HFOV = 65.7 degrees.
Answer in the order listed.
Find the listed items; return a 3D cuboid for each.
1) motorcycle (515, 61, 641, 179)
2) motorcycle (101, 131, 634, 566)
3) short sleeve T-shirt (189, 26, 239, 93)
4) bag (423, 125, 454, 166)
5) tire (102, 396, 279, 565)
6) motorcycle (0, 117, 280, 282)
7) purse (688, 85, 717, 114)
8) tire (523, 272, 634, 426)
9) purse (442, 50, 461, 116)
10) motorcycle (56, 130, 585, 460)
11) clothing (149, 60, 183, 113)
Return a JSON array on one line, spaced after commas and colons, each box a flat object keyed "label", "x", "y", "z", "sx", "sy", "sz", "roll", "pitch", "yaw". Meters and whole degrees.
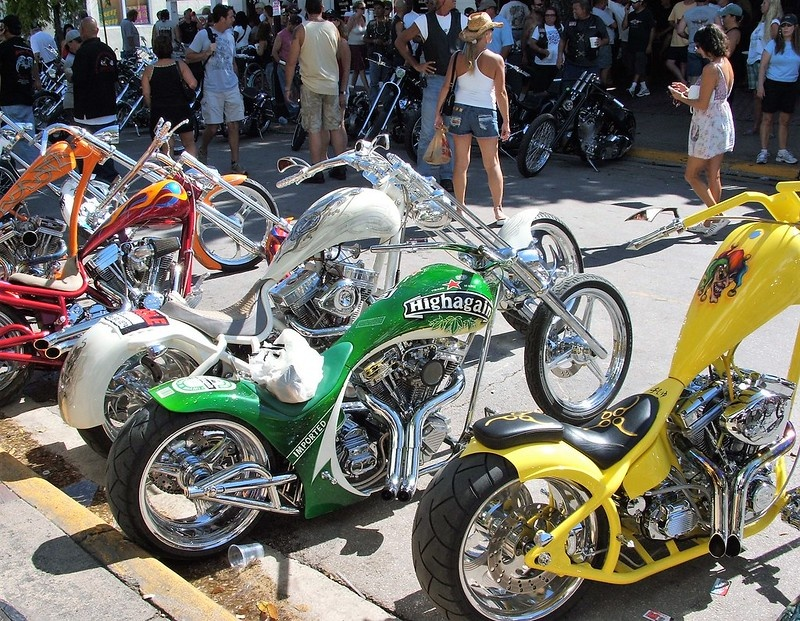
[{"label": "motorcycle", "x": 3.179, "y": -3.311, "z": 10.740, "sx": 3.182, "sy": 1.769, "sz": 1.109, "roll": -16, "pitch": 36, "yaw": -34}, {"label": "motorcycle", "x": -0.004, "y": 0.202, "z": 3.198, "sx": 2.976, "sy": 1.508, "sz": 1.272, "roll": -14, "pitch": 25, "yaw": -18}, {"label": "short sleeve T-shirt", "x": -2.977, "y": -4.056, "z": 10.044, "sx": 0.813, "sy": 1.009, "sz": 0.481, "roll": -18, "pitch": 40, "yaw": -37}, {"label": "bag", "x": 0.352, "y": -1.480, "z": 5.522, "sx": 0.274, "sy": 0.317, "sz": 0.182, "roll": -22, "pitch": 29, "yaw": -35}, {"label": "tire", "x": -1.036, "y": 0.785, "z": 2.893, "sx": 0.634, "sy": 0.833, "sz": 0.605, "roll": 17, "pitch": 26, "yaw": 35}, {"label": "motorcycle", "x": -2.374, "y": -0.941, "z": 5.226, "sx": 1.100, "sy": 1.210, "sz": 2.000, "roll": -5, "pitch": 2, "yaw": 28}, {"label": "purse", "x": 3.418, "y": -2.454, "z": 7.100, "sx": 0.242, "sy": 0.334, "sz": 0.161, "roll": 14, "pitch": 12, "yaw": 8}, {"label": "tire", "x": 1.114, "y": 0.262, "z": 3.952, "sx": 0.950, "sy": 1.045, "sz": 0.199, "roll": -5, "pitch": 18, "yaw": -29}, {"label": "purse", "x": 0.609, "y": -2.760, "z": 7.579, "sx": 0.194, "sy": 0.727, "sz": 0.161, "roll": 10, "pitch": 23, "yaw": 23}, {"label": "motorcycle", "x": -0.456, "y": -0.132, "z": 4.047, "sx": 3.754, "sy": 1.809, "sz": 1.324, "roll": -13, "pitch": 23, "yaw": -11}, {"label": "clothing", "x": -3.418, "y": -3.269, "z": 9.012, "sx": 0.589, "sy": 0.763, "sz": 0.410, "roll": -7, "pitch": 21, "yaw": -9}]
